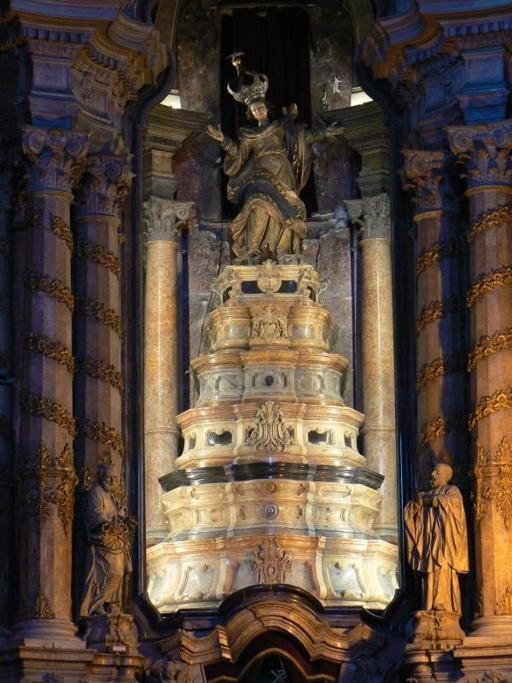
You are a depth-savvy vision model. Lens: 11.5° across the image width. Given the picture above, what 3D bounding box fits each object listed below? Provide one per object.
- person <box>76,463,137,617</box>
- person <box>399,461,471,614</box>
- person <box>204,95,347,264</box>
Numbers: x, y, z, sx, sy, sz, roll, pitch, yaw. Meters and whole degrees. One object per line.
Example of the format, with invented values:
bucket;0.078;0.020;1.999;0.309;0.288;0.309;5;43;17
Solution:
person;-1.337;1.926;23.456;0.403;1.402;0.830;-6;-31;14
person;1.619;1.852;23.189;0.556;1.358;0.481;1;-29;2
person;0.239;-1.614;26.896;1.496;2.031;0.562;-2;-23;-1
